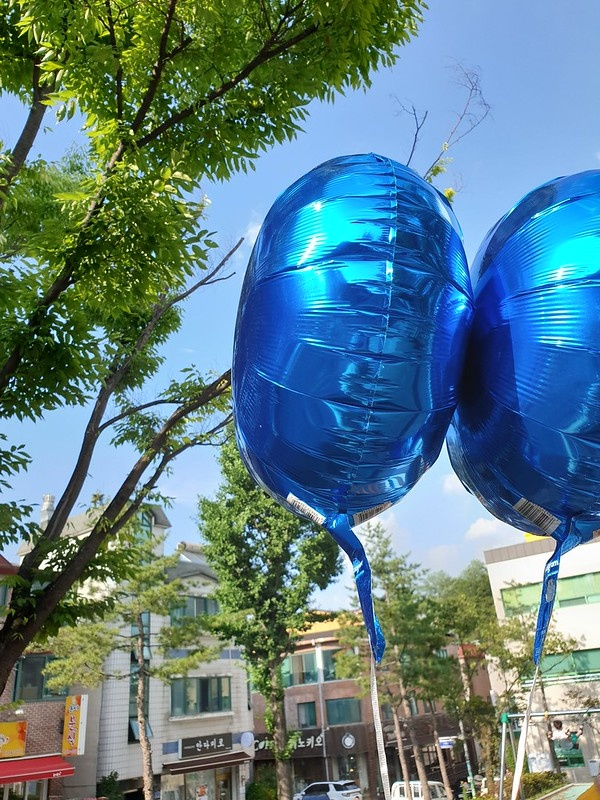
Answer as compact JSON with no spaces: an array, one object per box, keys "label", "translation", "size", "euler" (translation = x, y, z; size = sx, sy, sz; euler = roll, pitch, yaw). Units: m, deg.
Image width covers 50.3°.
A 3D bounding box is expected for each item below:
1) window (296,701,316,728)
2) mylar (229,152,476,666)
[{"label":"window","translation":[0.389,17.779,36.097],"size":[1.477,1.570,0.195],"euler":[-8,-22,20]},{"label":"mylar","translation":[0.124,0.045,2.530],"size":[0.929,1.769,0.883],"euler":[4,8,-1]}]
